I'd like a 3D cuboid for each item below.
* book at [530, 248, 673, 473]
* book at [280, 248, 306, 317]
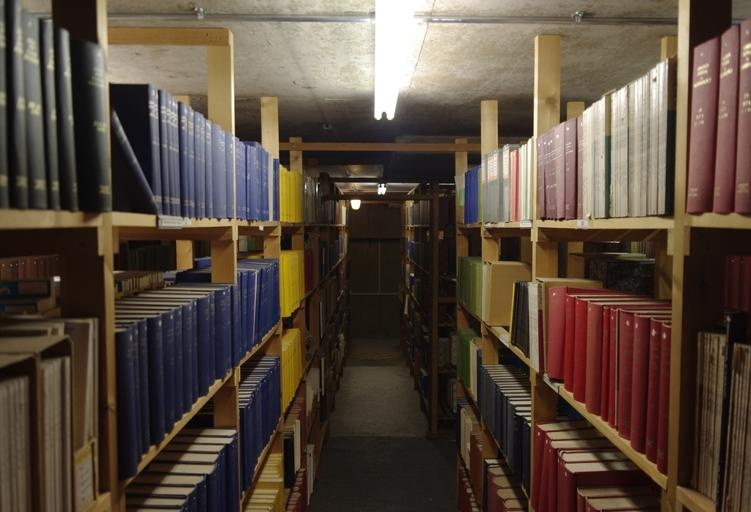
[{"bbox_3d":[0.807,0.349,2.240,0.214,0.641,0.496,1,3,-5],"label":"book"},{"bbox_3d":[-0.498,0.167,4.048,0.124,0.350,0.266,-4,3,-38],"label":"book"}]
